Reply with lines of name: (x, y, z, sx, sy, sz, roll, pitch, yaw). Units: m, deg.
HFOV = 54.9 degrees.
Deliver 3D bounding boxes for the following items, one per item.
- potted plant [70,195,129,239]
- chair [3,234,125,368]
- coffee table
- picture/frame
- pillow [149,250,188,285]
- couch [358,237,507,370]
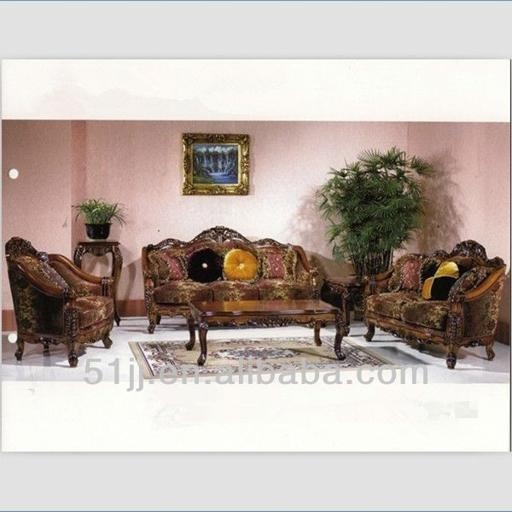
potted plant: (-2.043, -0.481, 6.486, 0.572, 0.399, 0.564, 0, 0, -33)
chair: (-1.851, 0.388, 4.577, 0.818, 1.106, 0.936, 0, 5, 0)
coffee table: (0.015, 0.667, 4.852, 1.379, 0.509, 1.270, -1, 4, -15)
picture/frame: (-0.605, -1.319, 6.843, 0.955, 0.819, 0.120, 0, 2, -5)
pillow: (-1.097, 0.160, 6.115, 0.491, 0.355, 0.299, -1, 5, -16)
couch: (1.756, 0.406, 4.790, 0.868, 1.083, 1.338, -1, 5, -17)
